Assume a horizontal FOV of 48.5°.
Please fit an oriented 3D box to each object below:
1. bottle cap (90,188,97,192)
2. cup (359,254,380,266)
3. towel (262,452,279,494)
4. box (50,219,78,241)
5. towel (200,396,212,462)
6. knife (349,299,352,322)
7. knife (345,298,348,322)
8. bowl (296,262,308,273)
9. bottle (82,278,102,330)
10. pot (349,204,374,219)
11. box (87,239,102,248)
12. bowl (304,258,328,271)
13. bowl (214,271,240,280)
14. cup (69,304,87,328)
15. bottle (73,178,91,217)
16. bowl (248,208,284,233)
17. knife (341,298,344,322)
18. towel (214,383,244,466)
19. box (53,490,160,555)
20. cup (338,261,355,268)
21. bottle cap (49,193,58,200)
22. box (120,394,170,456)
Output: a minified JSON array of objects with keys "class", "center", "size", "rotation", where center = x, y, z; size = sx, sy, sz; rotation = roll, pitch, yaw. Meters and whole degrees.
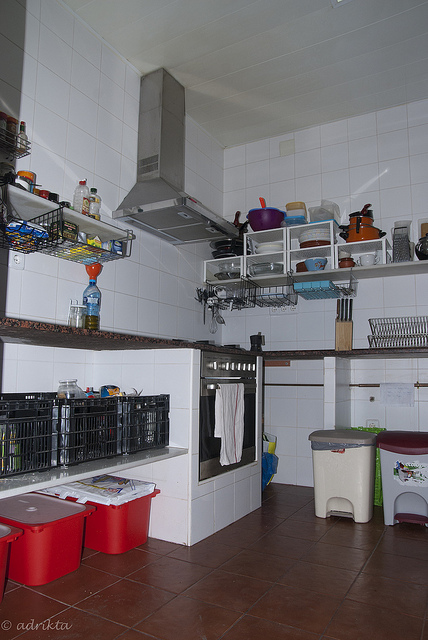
[{"class":"bottle cap","center":[-0.630,-0.688,2.512],"size":[0.023,0.018,0.023],"rotation":[-2,1,-42]},{"class":"cup","center":[1.019,-0.392,3.114],"size":[0.090,0.066,0.076],"rotation":[-1,-2,22]},{"class":"towel","center":[0.369,1.018,3.144],"size":[0.091,0.248,0.216],"rotation":[-2,-4,12]},{"class":"box","center":[-0.662,-0.400,2.120],"size":[0.059,0.083,0.157],"rotation":[-3,-4,31]},{"class":"towel","center":[-0.035,0.497,2.178],"size":[0.020,0.295,0.112],"rotation":[-3,-4,19]},{"class":"knife","center":[0.955,-0.072,3.315],"size":[0.022,0.144,0.068],"rotation":[-2,-4,16]},{"class":"knife","center":[0.929,-0.072,3.317],"size":[0.021,0.154,0.067],"rotation":[-3,-4,18]},{"class":"bowl","center":[0.629,-0.371,3.344],"size":[0.062,0.063,0.060],"rotation":[2,-3,0]},{"class":"bottle","center":[-0.617,-0.089,2.411],"size":[0.100,0.288,0.442],"rotation":[0,-4,-13]},{"class":"pot","center":[0.995,-0.733,3.197],"size":[0.081,0.092,0.133],"rotation":[-2,11,-26]},{"class":"box","center":[-0.592,-0.383,2.373],"size":[0.045,0.040,0.062],"rotation":[-7,13,-45]},{"class":"bowl","center":[0.714,-0.378,3.276],"size":[0.096,0.059,0.095],"rotation":[-3,1,0]},{"class":"bowl","center":[0.099,-0.331,3.534],"size":[0.203,0.061,0.069],"rotation":[-4,-4,40]},{"class":"cup","center":[-0.650,-0.019,2.283],"size":[0.082,0.112,0.175],"rotation":[0,-4,-16]},{"class":"bottle","center":[-0.655,-0.610,2.368],"size":[0.083,0.231,0.231],"rotation":[0,-4,-14]},{"class":"bowl","center":[0.366,-0.730,3.443],"size":[0.185,0.110,0.196],"rotation":[-1,2,0]},{"class":"knife","center":[0.905,-0.075,3.338],"size":[0.023,0.160,0.078],"rotation":[-2,-4,15]},{"class":"towel","center":[0.090,0.521,2.402],"size":[0.049,0.402,0.333],"rotation":[-1,-3,23]},{"class":"box","center":[-0.420,0.787,1.997],"size":[0.365,0.247,0.303],"rotation":[4,1,24]},{"class":"cup","center":[0.882,-0.370,3.171],"size":[0.108,0.055,0.057],"rotation":[-4,-4,34]},{"class":"bottle cap","center":[-0.737,-0.572,2.192],"size":[0.031,0.045,0.073],"rotation":[-1,-3,-12]},{"class":"box","center":[-0.303,0.419,1.994],"size":[0.139,0.239,0.183],"rotation":[5,3,38]}]
